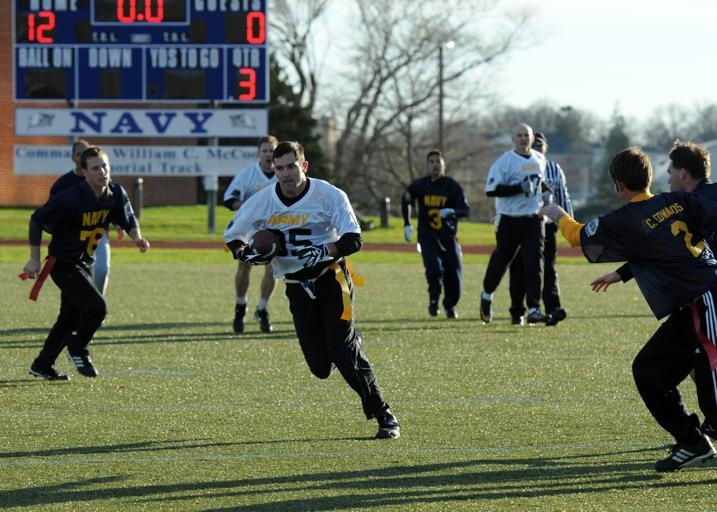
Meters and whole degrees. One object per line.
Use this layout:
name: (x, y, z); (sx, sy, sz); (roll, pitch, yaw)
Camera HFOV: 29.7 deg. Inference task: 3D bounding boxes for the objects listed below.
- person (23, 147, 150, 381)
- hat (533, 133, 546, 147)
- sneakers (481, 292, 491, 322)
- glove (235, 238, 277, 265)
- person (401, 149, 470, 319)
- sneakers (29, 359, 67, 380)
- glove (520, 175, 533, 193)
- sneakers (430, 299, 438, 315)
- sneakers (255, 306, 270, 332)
person: (-3.081, 0.246, 15.105); (1.188, 2.238, 0.557); (-3, 12, -18)
hat: (2.577, -1.637, 19.241); (0.206, 0.136, 0.263); (3, 23, -1)
sneakers: (1.740, 0.699, 18.492); (0.155, 0.396, 0.186); (-4, 13, 4)
glove: (-1.023, -0.036, 13.735); (0.405, 0.252, 0.242); (0, 11, -3)
person: (1.177, -0.323, 19.404); (0.761, 2.334, 1.081); (-1, 12, -8)
sneakers: (-3.434, 1.297, 15.096); (0.521, 0.206, 0.177); (13, 20, -20)
glove: (2.201, -0.939, 17.854); (0.160, 0.163, 0.193); (-2, -6, 17)
sneakers: (1.077, 0.739, 19.384); (0.137, 0.187, 0.082); (3, -11, -4)
sneakers: (-1.242, 0.844, 18.041); (0.147, 0.387, 0.188); (-24, 12, -34)
